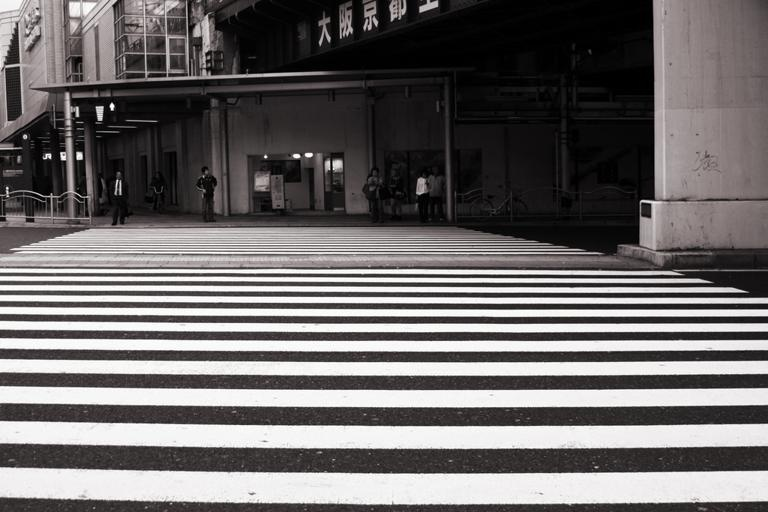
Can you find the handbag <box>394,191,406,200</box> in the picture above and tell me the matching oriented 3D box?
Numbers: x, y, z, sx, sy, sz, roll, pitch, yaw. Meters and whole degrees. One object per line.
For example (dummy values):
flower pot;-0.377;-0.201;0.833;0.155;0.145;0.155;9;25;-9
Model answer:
handbag;0.608;-2.358;32.647;0.341;0.292;0.510;-2;-6;7
